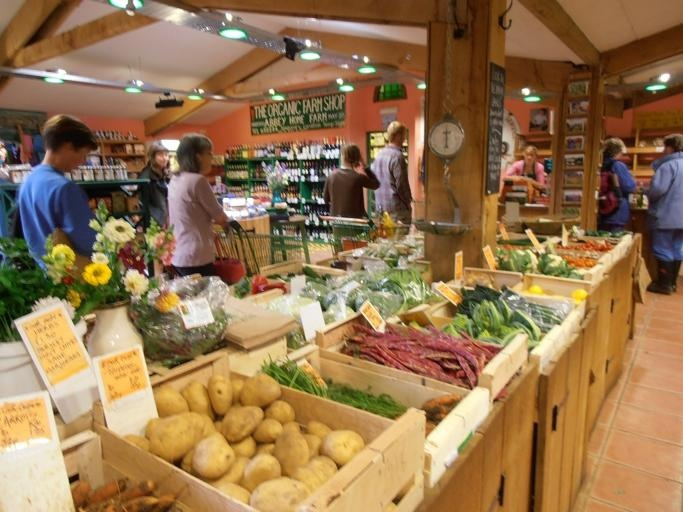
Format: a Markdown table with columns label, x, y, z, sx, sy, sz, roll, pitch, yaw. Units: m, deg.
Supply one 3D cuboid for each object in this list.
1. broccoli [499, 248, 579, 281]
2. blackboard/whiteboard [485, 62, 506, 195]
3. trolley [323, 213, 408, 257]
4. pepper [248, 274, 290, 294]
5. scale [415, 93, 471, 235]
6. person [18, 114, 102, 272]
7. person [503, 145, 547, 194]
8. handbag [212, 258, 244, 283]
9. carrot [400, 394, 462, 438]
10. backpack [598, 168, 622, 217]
| label | x | y | z | sx | sy | sz | roll | pitch | yaw |
| --- | --- | --- | --- | --- | --- | --- | --- | --- | --- |
| broccoli | 1.483 | 0.069 | 3.343 | 0.311 | 0.128 | 0.315 | 3 | -8 | 38 |
| blackboard/whiteboard | 1.110 | -0.902 | 3.252 | 0.040 | 0.902 | 0.299 | 5 | 14 | 33 |
| trolley | 0.076 | -0.264 | 4.751 | 0.433 | 0.341 | 0.643 | -9 | 10 | -6 |
| pepper | -0.443 | 0.191 | 2.775 | 0.190 | 0.097 | 0.116 | 14 | -16 | -7 |
| scale | 0.736 | -0.632 | 3.162 | 0.363 | 0.985 | 0.351 | -3 | 10 | -30 |
| person | -1.658 | -0.382 | 2.637 | 0.481 | 0.872 | 0.698 | -10 | 14 | -30 |
| person | 3.193 | -1.401 | 7.771 | 0.612 | 0.951 | 0.921 | 12 | 18 | 31 |
| handbag | -0.911 | 0.109 | 3.609 | 0.219 | 0.225 | 0.304 | -4 | 8 | -22 |
| carrot | 0.372 | 0.595 | 1.701 | 0.103 | 0.046 | 0.135 | -31 | -9 | -39 |
| backpack | 3.893 | -0.918 | 6.573 | 0.208 | 0.584 | 0.431 | -14 | -3 | -27 |
